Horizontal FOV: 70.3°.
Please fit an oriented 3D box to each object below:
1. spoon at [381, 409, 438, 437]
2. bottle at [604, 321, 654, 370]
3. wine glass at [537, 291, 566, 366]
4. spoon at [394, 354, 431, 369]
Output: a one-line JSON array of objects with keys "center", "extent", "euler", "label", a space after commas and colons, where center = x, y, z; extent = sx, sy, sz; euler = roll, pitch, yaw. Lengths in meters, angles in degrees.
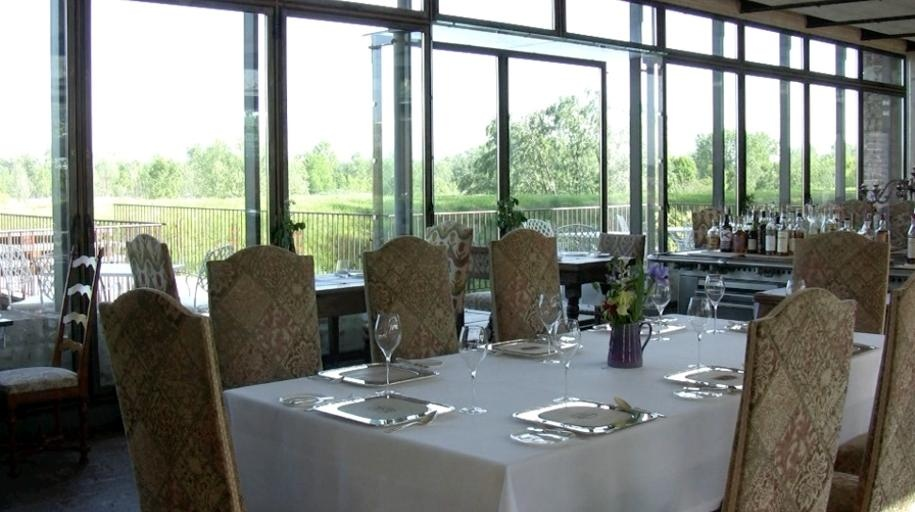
[{"center": [-0.200, 0.674, 2.722], "extent": [0.233, 0.063, 0.070], "euler": [-24, 48, -24], "label": "spoon"}, {"center": [0.906, 0.449, 3.388], "extent": [0.257, 0.227, 0.162], "euler": [0, 6, -5], "label": "bottle"}, {"center": [0.531, 0.388, 3.788], "extent": [0.194, 0.454, 0.180], "euler": [7, -16, -24], "label": "wine glass"}, {"center": [-0.241, 0.568, 3.499], "extent": [0.083, 0.024, 0.227], "euler": [-4, 4, -28], "label": "spoon"}]
